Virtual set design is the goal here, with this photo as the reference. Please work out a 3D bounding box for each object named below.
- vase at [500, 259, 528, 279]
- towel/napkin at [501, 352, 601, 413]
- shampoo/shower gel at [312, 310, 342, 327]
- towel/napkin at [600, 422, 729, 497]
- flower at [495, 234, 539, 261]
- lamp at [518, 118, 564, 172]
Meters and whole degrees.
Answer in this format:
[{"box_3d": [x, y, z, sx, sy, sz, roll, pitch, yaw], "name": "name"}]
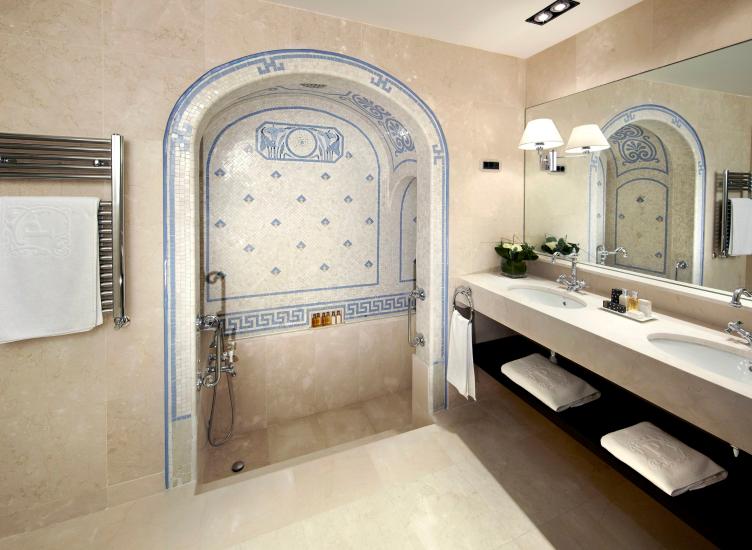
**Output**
[{"box_3d": [1.048, -0.047, 3.737, 0.116, 0.157, 0.205, -1, 5, -19], "name": "vase"}, {"box_3d": [1.109, 0.675, 3.239, 0.303, 0.101, 0.368, -9, 17, -19], "name": "towel/napkin"}, {"box_3d": [-0.413, 0.373, 4.270, 0.279, 0.123, 0.037, -4, 8, -19], "name": "shampoo/shower gel"}, {"box_3d": [1.507, 0.910, 2.664, 0.323, 0.099, 0.351, -12, 17, -16], "name": "towel/napkin"}, {"box_3d": [1.065, -0.173, 3.738, 0.207, 0.100, 0.217, 1, -3, -32], "name": "flower"}, {"box_3d": [1.136, -0.873, 3.428, 0.287, 0.340, 0.295, -3, 2, 29], "name": "lamp"}]
